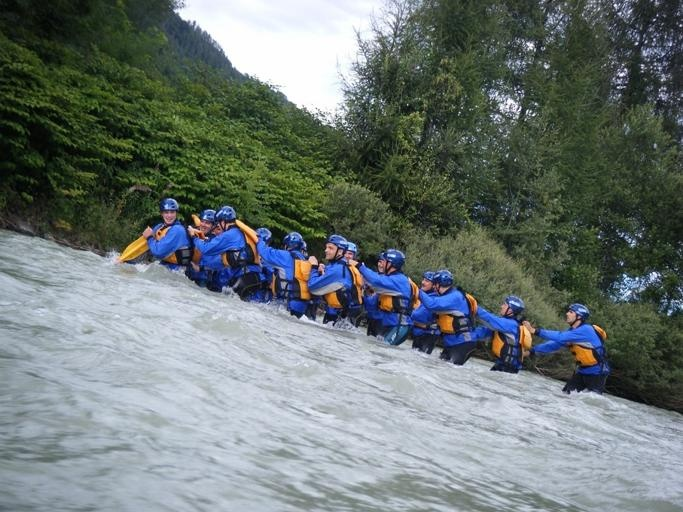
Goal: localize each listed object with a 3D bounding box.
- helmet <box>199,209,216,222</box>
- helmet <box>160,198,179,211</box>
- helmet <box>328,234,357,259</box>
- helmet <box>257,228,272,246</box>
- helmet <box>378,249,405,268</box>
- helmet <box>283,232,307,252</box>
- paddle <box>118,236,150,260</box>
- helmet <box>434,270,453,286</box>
[{"bbox_3d":[-3.169,-0.985,17.039,0.374,0.362,0.313,18,4,-20],"label":"helmet"},{"bbox_3d":[-3.821,-1.155,15.904,0.288,0.362,0.361,2,-9,-22],"label":"helmet"},{"bbox_3d":[0.061,-0.210,16.380,0.612,0.606,0.471,23,-3,-15],"label":"helmet"},{"bbox_3d":[-1.903,-0.519,17.750,0.353,0.472,0.443,3,-7,-2],"label":"helmet"},{"bbox_3d":[1.258,0.024,16.760,0.461,0.414,0.414,9,19,20],"label":"helmet"},{"bbox_3d":[-1.072,-0.306,16.736,0.495,0.553,0.410,7,20,45],"label":"helmet"},{"bbox_3d":[-4.452,-0.145,15.429,0.579,0.579,0.328,16,1,-29],"label":"paddle"},{"bbox_3d":[2.500,0.556,17.080,0.321,0.405,0.404,0,18,-29],"label":"helmet"}]
